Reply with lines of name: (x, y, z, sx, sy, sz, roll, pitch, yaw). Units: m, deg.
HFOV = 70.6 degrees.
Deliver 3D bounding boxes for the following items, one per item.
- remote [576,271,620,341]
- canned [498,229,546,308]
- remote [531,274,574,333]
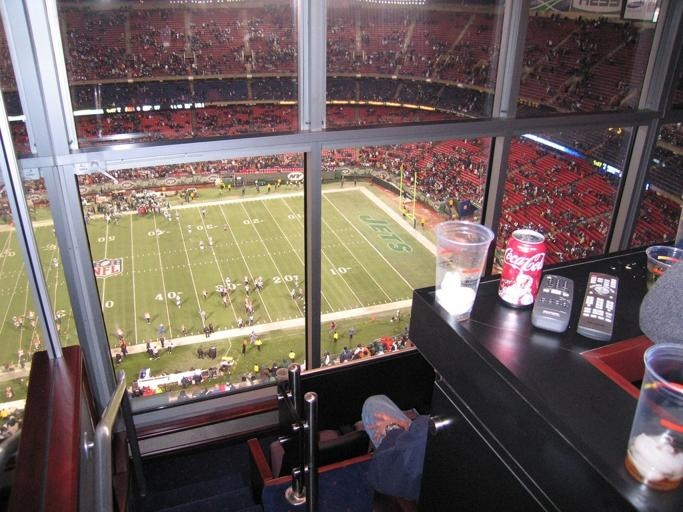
remote: (0.936, 0.175, 1.760, 0.097, 0.057, 0.348, 13, 39, 27)
canned: (0.665, 0.044, 1.771, 0.153, 0.260, 0.144, 5, 20, 14)
remote: (0.766, 0.169, 1.747, 0.125, 0.071, 0.285, 14, 36, 26)
